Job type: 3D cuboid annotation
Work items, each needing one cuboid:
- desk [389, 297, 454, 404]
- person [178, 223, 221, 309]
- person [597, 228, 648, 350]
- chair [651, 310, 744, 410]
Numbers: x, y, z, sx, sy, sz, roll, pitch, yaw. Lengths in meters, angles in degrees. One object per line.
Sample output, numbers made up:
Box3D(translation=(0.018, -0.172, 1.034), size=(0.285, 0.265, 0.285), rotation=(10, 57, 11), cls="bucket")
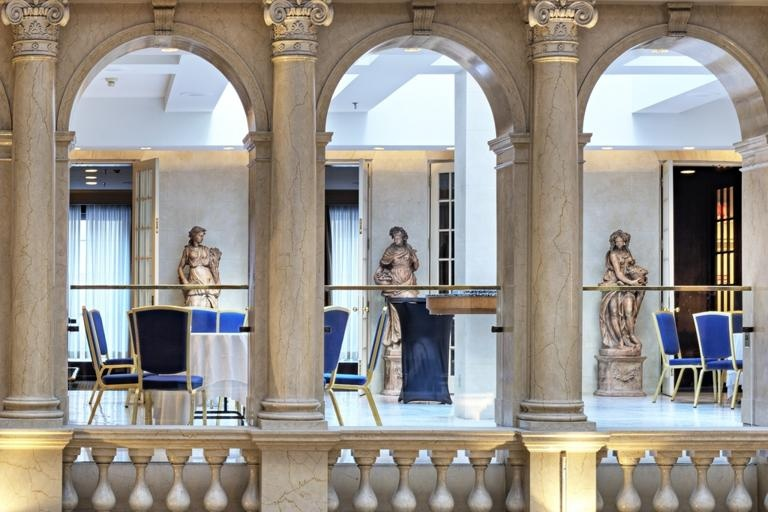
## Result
Box3D(translation=(0.414, 1.005, 19.941), size=(0.623, 1.098, 0.339), rotation=(-2, -3, -4), cls="desk")
Box3D(translation=(-2.220, 0.155, 23.237), size=(0.551, 1.034, 1.236), rotation=(-2, -3, -5), cls="person")
Box3D(translation=(2.856, 0.442, 23.036), size=(0.583, 1.472, 0.396), rotation=(-2, -3, 5), cls="person")
Box3D(translation=(3.564, 1.252, 21.918), size=(0.475, 0.762, 1.181), rotation=(2, -3, -17), cls="chair")
